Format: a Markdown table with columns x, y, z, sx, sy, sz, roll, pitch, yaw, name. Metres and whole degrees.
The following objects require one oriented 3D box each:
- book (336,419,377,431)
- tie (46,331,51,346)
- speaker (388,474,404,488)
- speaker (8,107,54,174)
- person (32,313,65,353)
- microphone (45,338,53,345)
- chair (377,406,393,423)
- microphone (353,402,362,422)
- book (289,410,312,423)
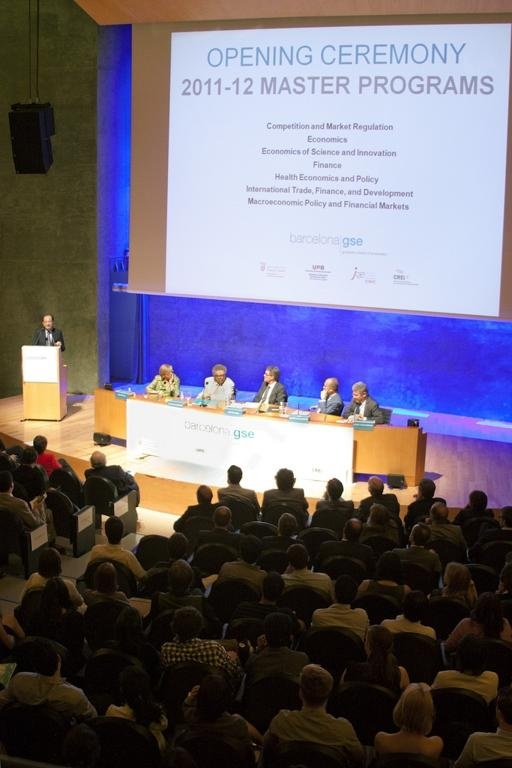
| x | y | z | sx | sy | sz | roll | pitch | yaw | name |
| --- | --- | --- | --- | --- | --- | --- | --- | --- | --- |
| 0.950 | 0.411 | 5.991 | 0.251 | 0.086 | 0.511 | 5 | 3 | 38 | book |
| -2.918 | -0.647 | 8.656 | 0.082 | 0.179 | 0.027 | 3 | 1 | 5 | tie |
| 1.385 | 0.966 | 6.092 | 0.200 | 0.192 | 0.115 | 0 | -1 | 13 | speaker |
| -3.085 | -3.425 | 8.404 | 0.509 | 0.932 | 0.742 | 2 | 2 | -13 | speaker |
| -2.875 | -0.724 | 8.527 | 0.345 | 0.454 | 0.767 | 2 | 2 | -23 | person |
| -2.900 | -0.570 | 8.605 | 0.124 | 0.133 | 0.071 | 7 | 12 | 25 | microphone |
| 1.375 | 0.335 | 6.545 | 0.152 | 0.303 | 0.176 | 4 | 2 | 18 | chair |
| 1.057 | 0.313 | 6.442 | 0.119 | 0.171 | 0.176 | 1 | 2 | -1 | microphone |
| 0.416 | 0.319 | 5.943 | 0.207 | 0.072 | 0.182 | 3 | 2 | 1 | book |
